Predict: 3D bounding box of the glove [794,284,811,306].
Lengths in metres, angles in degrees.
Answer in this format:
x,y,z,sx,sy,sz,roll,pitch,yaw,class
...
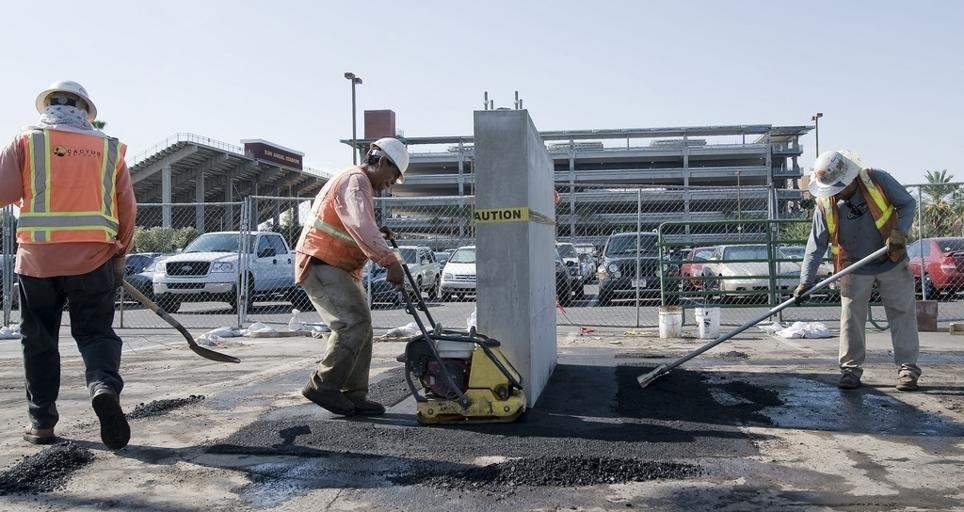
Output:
x,y,z,sx,sy,sz,roll,pitch,yaw,class
4.168,0.478,12.062,0.210,0.288,0.093,-4,-33,20,glove

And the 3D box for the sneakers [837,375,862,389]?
x,y,z,sx,sy,sz,roll,pitch,yaw,class
4.738,1.590,11.875,0.347,0.187,0.139,-1,-1,-27,sneakers

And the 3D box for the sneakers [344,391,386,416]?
x,y,z,sx,sy,sz,roll,pitch,yaw,class
-1.424,1.808,11.206,0.543,0.205,0.204,0,-1,0,sneakers

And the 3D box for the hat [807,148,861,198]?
x,y,z,sx,sy,sz,roll,pitch,yaw,class
4.534,-1.044,11.870,0.628,0.591,0.328,-2,-1,9,hat

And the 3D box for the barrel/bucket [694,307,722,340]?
x,y,z,sx,sy,sz,roll,pitch,yaw,class
3.770,1.102,15.440,0.364,0.487,0.358,-2,-1,0,barrel/bucket

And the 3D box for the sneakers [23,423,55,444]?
x,y,z,sx,sy,sz,roll,pitch,yaw,class
-5.046,2.009,10.557,0.370,0.210,0.175,6,2,16,sneakers

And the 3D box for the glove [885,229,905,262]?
x,y,z,sx,sy,sz,roll,pitch,yaw,class
5.208,-0.111,11.790,0.152,0.350,0.289,-5,-9,15,glove

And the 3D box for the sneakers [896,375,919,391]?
x,y,z,sx,sy,sz,roll,pitch,yaw,class
5.416,1.590,11.756,0.291,0.202,0.183,-2,-1,6,sneakers

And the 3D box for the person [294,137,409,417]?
x,y,z,sx,sy,sz,roll,pitch,yaw,class
-1.597,0.250,11.081,1.381,2.536,0.747,-2,-1,4,person

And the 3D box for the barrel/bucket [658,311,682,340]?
x,y,z,sx,sy,sz,roll,pitch,yaw,class
3.118,1.165,15.727,0.500,0.422,0.437,1,-6,-8,barrel/bucket
